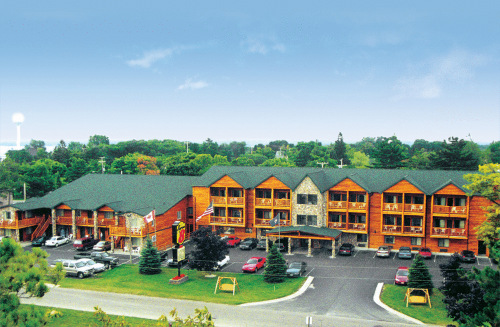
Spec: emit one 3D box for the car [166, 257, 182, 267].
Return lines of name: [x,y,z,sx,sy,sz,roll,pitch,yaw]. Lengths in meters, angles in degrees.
car: [-13.400,16.985,99.677,1.937,0.975,1.805,3,-2,-37]

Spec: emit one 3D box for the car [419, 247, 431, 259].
car: [30.274,15.562,100.881,1.755,1.974,3.298,-4,-9,31]

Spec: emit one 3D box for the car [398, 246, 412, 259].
car: [26.819,15.527,101.475,1.321,0.904,2.773,1,15,14]

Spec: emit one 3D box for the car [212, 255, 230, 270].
car: [-4.583,16.754,97.469,1.340,0.995,3.115,-12,-1,22]

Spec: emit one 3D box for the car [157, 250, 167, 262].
car: [-15.196,16.348,103.020,1.363,1.727,4.330,2,-8,-8]

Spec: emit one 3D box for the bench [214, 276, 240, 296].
bench: [-3.547,18.941,90.426,3.500,2.493,2.709,0,-2,18]

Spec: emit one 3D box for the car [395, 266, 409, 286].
car: [23.471,17.689,90.796,1.958,2.400,3.205,-1,-8,14]

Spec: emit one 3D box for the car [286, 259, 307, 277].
car: [7.578,17.245,95.062,2.161,2.468,3.761,-6,-10,40]

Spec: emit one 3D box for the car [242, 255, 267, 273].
car: [0.700,16.969,97.476,2.029,2.474,4.310,-7,-10,43]

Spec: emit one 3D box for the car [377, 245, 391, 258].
car: [23.203,15.485,102.008,2.306,1.853,1.556,0,-8,6]

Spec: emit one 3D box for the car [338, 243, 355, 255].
car: [17.186,15.351,104.007,2.784,2.049,1.975,7,-10,-42]
